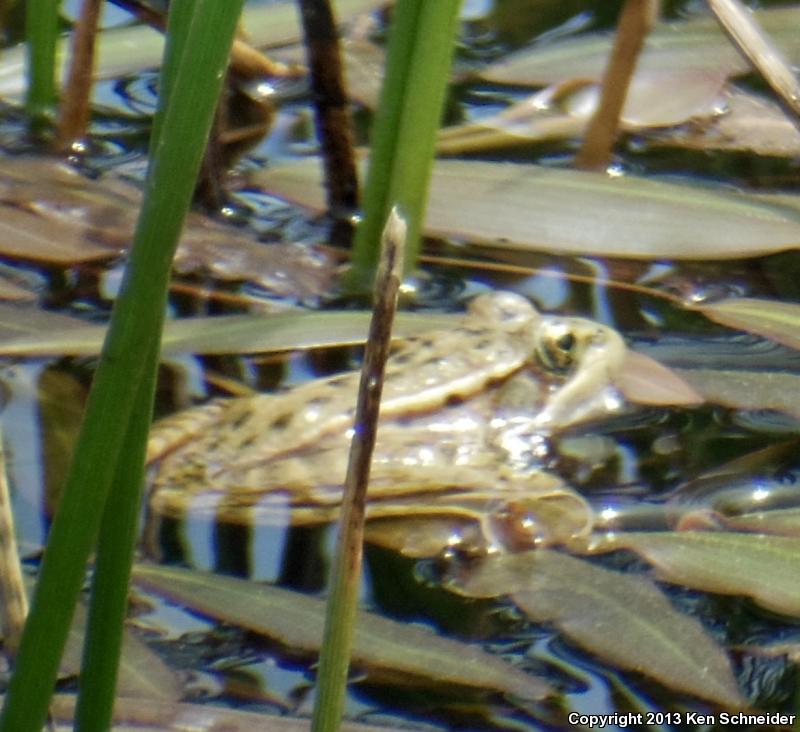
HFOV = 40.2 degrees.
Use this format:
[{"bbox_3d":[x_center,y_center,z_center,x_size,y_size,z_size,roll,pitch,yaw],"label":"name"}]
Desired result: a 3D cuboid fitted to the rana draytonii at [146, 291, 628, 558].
[{"bbox_3d":[-0.016,0.026,0.911,0.424,0.107,0.225,-13,40,-9],"label":"rana draytonii"}]
